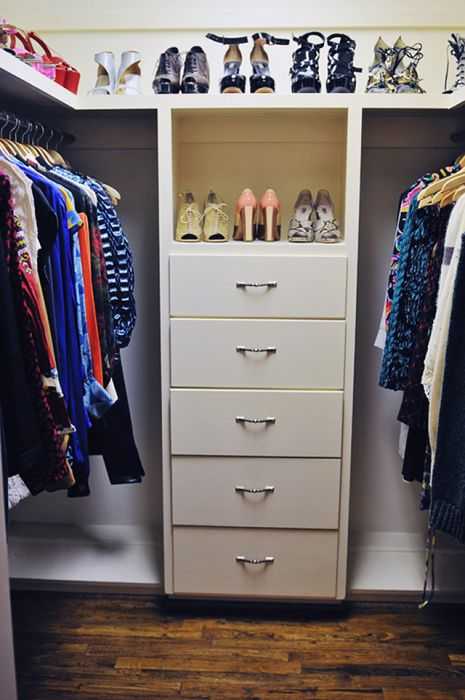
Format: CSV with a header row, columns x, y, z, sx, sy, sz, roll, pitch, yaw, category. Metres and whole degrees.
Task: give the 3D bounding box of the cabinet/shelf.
x,y,z,sx,sy,sz,roll,pitch,yaw,category
0.068,0.019,1.759,0.565,1.414,0.434,1,13,4,cabinet/shelf
